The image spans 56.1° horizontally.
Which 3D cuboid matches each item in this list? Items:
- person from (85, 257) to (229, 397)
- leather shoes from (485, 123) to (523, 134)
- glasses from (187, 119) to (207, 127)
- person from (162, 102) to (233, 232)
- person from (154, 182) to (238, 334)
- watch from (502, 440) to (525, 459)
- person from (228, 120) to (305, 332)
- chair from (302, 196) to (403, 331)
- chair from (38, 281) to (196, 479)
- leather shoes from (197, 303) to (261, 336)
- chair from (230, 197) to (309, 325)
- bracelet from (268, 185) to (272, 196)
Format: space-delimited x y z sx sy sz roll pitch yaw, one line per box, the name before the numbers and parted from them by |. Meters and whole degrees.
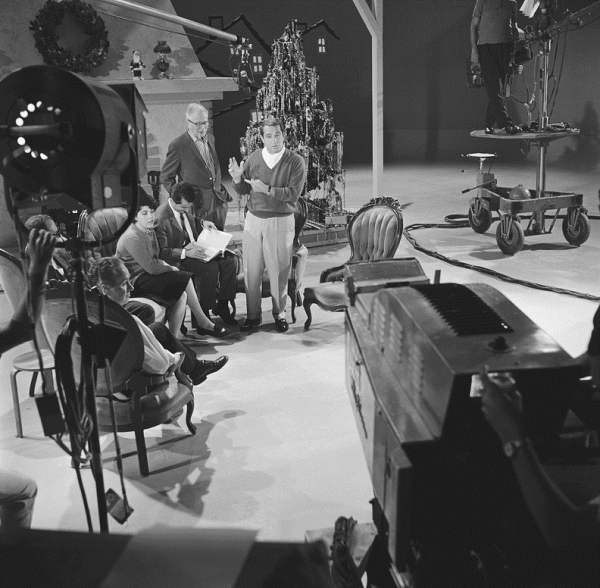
person | -0.968 0.207 3.857 0.792 1.079 0.554 -17 23 -31
leather shoes | 3.194 -2.576 8.751 0.353 0.166 0.281 7 13 29
glasses | -1.051 -1.752 5.776 0.179 0.068 0.128 3 4 -11
person | -1.070 -1.042 6.206 0.645 1.974 0.477 -21 29 -35
person | -1.055 -0.352 5.544 0.601 1.448 0.538 1 14 17
watch | 0.604 0.434 1.593 0.047 0.030 0.033 -26 35 -36
person | -0.333 -0.651 5.529 0.707 2.043 0.510 2 4 -3
chair | 0.505 -0.230 5.133 0.743 1.278 0.685 0 11 -34
chair | -1.002 0.410 3.348 0.553 1.143 0.760 3 16 7
leather shoes | -0.720 0.265 5.645 0.390 0.202 0.139 -12 23 6
chair | -0.262 -0.290 5.694 0.451 0.891 0.467 -2 -11 -38
bracelet | -0.275 -0.965 5.282 0.046 0.110 0.053 -4 13 -13
